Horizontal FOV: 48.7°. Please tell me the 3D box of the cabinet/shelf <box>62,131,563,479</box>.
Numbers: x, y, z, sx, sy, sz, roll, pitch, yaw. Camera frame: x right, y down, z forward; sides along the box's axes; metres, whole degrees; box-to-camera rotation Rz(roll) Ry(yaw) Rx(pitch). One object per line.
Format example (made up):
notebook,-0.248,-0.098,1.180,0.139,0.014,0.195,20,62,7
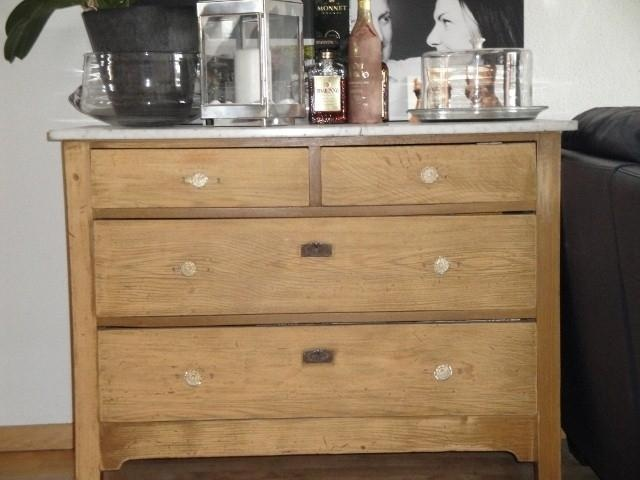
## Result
cabinet/shelf,-0.020,0.145,2.018,1.230,0.711,0.389,0,9,-1
